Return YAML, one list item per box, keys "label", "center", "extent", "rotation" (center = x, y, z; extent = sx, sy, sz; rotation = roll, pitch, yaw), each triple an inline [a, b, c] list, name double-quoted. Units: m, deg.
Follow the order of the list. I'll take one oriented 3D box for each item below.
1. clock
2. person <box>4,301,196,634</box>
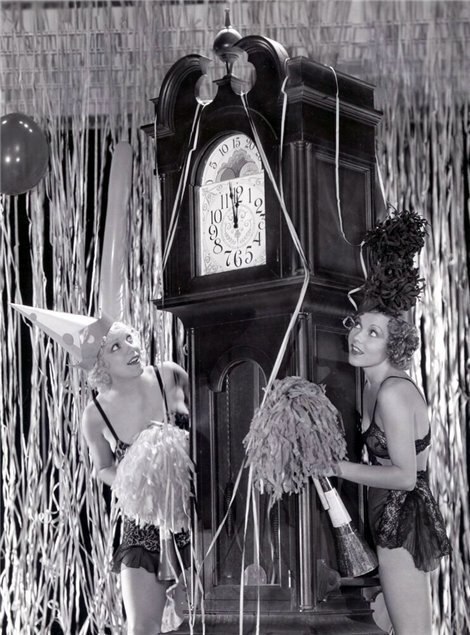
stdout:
- label: "clock"
  center: [0.003, -0.302, 4.383]
  extent: [0.197, 0.424, 0.018]
  rotation: [-8, -26, 14]
- label: "person"
  center: [-0.287, 0.434, 4.724]
  extent: [0.596, 0.982, 0.394]
  rotation: [-6, -6, 36]
